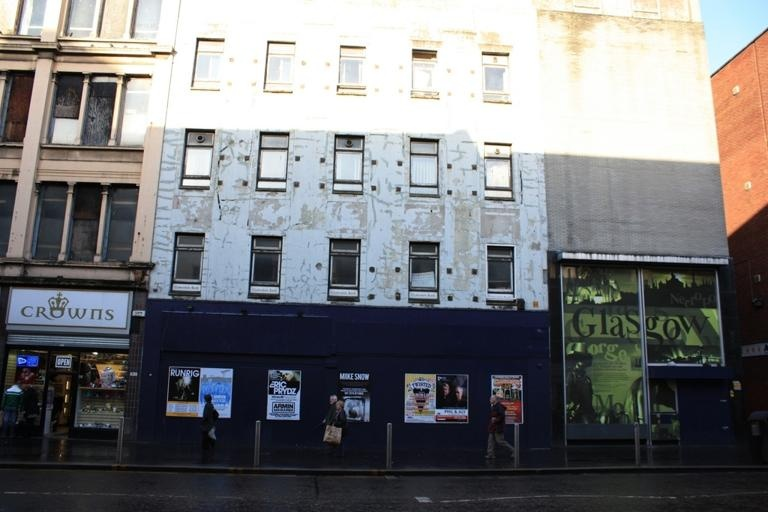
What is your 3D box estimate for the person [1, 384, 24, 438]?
[{"bbox_3d":[-15.949,6.638,34.288,0.766,2.229,0.866,5,-12,-22],"label":"person"}]
